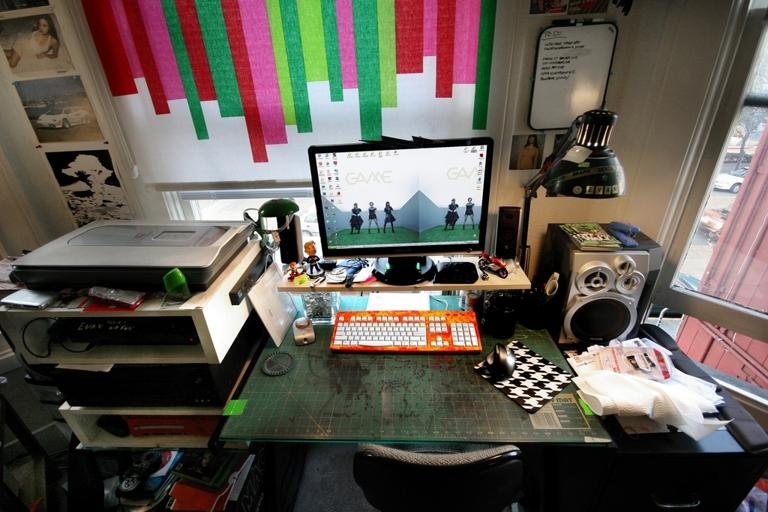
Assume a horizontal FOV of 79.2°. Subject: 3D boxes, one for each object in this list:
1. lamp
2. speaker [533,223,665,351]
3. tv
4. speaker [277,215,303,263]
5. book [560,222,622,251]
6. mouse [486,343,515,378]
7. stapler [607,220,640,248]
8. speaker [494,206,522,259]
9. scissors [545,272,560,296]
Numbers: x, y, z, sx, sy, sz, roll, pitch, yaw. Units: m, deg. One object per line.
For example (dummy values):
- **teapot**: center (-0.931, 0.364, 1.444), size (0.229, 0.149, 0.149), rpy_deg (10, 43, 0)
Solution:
- **lamp**: center (0.853, -0.290, 2.128), size (0.394, 0.751, 0.353), rpy_deg (5, 31, 14)
- **speaker**: center (1.036, 0.146, 2.300), size (0.433, 0.503, 0.372), rpy_deg (1, 25, 2)
- **tv**: center (0.088, -0.219, 2.146), size (0.783, 0.594, 0.282), rpy_deg (-1, 31, 2)
- **speaker**: center (-0.457, -0.082, 2.278), size (0.123, 0.248, 0.072), rpy_deg (-10, 31, -11)
- **book**: center (0.965, -0.094, 2.159), size (0.145, 0.036, 0.189), rpy_deg (-2, 27, -2)
- **mouse**: center (0.528, 0.461, 2.056), size (0.101, 0.079, 0.156), rpy_deg (2, 39, 9)
- **stapler**: center (1.119, -0.110, 2.167), size (0.139, 0.041, 0.125), rpy_deg (-2, 40, 0)
- **speaker**: center (0.603, -0.123, 2.258), size (0.105, 0.261, 0.110), rpy_deg (4, 31, 12)
- **scissors**: center (0.793, 0.127, 2.196), size (0.025, 0.094, 0.090), rpy_deg (17, -16, -25)
